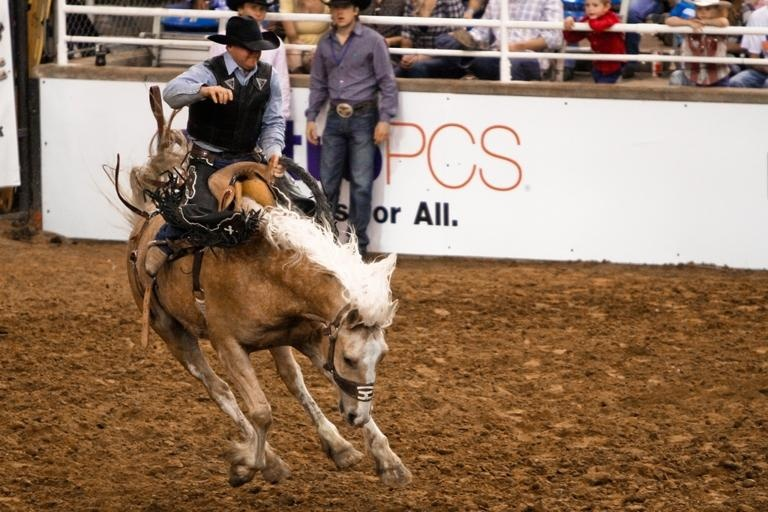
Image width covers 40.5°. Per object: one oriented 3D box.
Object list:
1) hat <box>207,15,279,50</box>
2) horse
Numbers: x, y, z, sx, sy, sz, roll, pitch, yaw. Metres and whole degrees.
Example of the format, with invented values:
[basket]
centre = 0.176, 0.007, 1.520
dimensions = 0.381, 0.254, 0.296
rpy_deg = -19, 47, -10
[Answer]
[hat]
centre = -1.296, -2.112, 9.790
dimensions = 0.680, 0.272, 0.782
rpy_deg = -1, 13, -14
[horse]
centre = -1.159, 0.578, 9.570
dimensions = 2.924, 2.957, 1.044
rpy_deg = 12, 16, 38
